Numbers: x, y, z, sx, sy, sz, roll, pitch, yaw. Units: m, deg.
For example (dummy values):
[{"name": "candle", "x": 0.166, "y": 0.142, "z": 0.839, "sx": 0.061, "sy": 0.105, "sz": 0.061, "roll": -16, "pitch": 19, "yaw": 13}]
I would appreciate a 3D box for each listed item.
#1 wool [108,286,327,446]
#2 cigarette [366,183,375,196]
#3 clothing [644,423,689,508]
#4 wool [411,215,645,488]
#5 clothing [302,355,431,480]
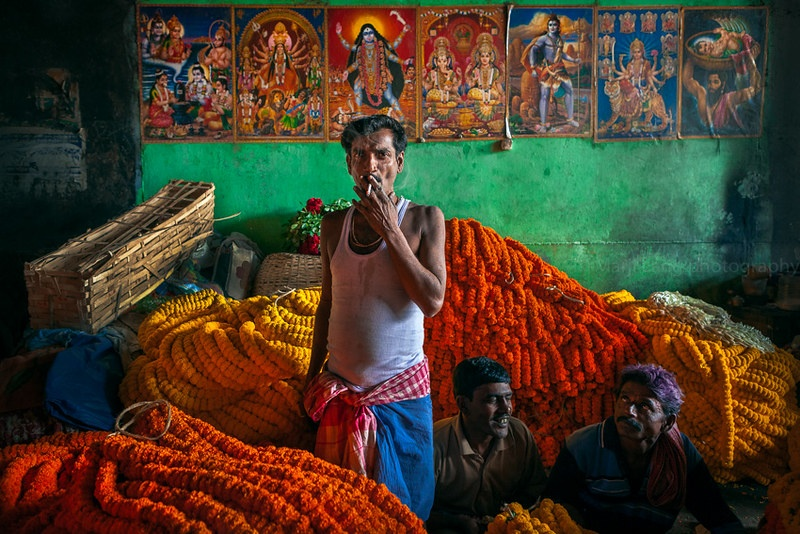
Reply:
[{"name": "wool", "x": -1.178, "y": 0.607, "z": 3.962, "sx": 1.182, "sy": 0.619, "sz": 0.903, "roll": 15, "pitch": 17, "yaw": 33}, {"name": "cigarette", "x": -0.162, "y": -0.421, "z": 3.220, "sx": 0.020, "sy": 0.021, "sz": 0.079, "roll": -4, "pitch": 44, "yaw": 15}, {"name": "clothing", "x": 1.685, "y": 1.266, "z": 3.767, "sx": 0.259, "sy": 0.516, "sz": 0.082, "roll": -2, "pitch": 6, "yaw": -16}, {"name": "wool", "x": 0.780, "y": 0.737, "z": 4.852, "sx": 1.563, "sy": 1.647, "sz": 0.839, "roll": 29, "pitch": -28, "yaw": 2}, {"name": "clothing", "x": -0.187, "y": 0.885, "z": 3.662, "sx": 0.546, "sy": 0.662, "sz": 0.681, "roll": 8, "pitch": -10, "yaw": 17}]
